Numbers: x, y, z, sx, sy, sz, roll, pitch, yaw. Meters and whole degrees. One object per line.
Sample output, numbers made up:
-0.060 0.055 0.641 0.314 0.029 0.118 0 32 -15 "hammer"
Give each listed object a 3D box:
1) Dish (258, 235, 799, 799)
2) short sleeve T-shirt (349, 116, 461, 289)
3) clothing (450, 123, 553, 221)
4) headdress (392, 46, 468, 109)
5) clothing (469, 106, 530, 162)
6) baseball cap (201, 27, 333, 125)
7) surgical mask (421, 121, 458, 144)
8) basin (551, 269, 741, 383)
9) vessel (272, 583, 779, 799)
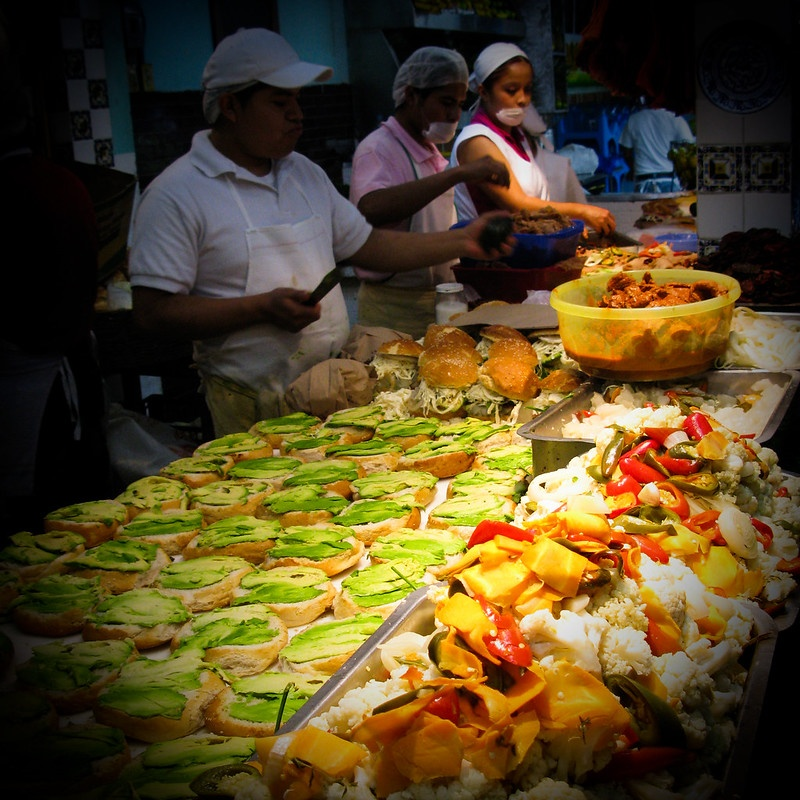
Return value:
0.230 0.246 1.115 0.440 0.123 0.827 5 28 32 "Dish"
0.019 -1.386 4.758 0.722 1.092 1.344 13 25 21 "short sleeve T-shirt"
0.906 -1.718 4.993 0.493 0.504 0.321 -21 20 -26 "clothing"
0.240 -2.093 4.243 0.376 0.234 0.292 5 22 34 "headdress"
0.769 -1.908 4.894 0.459 0.200 0.327 14 9 9 "clothing"
-0.566 -1.431 2.823 0.536 0.247 0.355 5 29 27 "baseball cap"
0.229 -1.788 4.435 0.172 0.124 0.175 45 44 11 "surgical mask"
0.820 -0.263 2.271 0.653 0.238 0.547 -12 24 -14 "basin"
0.267 0.438 1.079 0.807 0.122 0.387 2 8 8 "vessel"
